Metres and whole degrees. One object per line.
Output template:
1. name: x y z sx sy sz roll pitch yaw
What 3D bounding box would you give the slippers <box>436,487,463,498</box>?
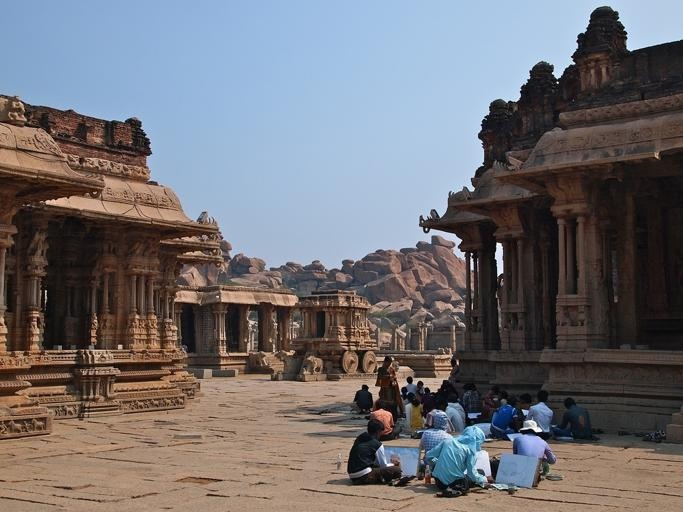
1. slippers: 1.938 4.188 16.470 0.346 0.082 0.194 -2 2 -18

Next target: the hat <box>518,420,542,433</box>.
1. hat: 3.657 3.248 17.676 0.368 0.119 0.421 -1 -5 43
